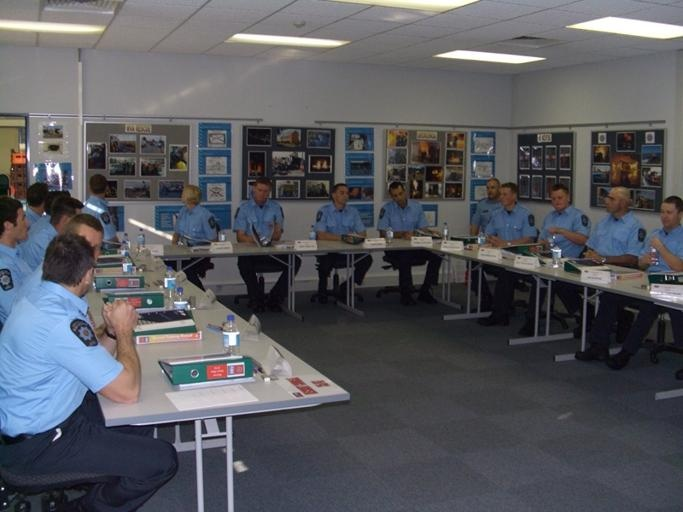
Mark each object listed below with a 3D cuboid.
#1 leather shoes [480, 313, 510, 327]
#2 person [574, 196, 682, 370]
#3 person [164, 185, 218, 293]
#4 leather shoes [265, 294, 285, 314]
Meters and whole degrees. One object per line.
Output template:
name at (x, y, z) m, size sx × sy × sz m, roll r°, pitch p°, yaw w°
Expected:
leather shoes at (1.880, 0.758, 6.563) m, size 0.352 × 0.238 × 0.153 m, roll 2°, pitch 1°, yaw 3°
person at (2.967, 0.248, 5.116) m, size 1.032 × 1.599 × 0.908 m, roll -8°, pitch 13°, yaw -39°
person at (-1.984, -0.120, 6.922) m, size 0.611 × 1.494 × 0.578 m, roll 7°, pitch 7°, yaw 9°
leather shoes at (-0.901, 0.631, 7.163) m, size 0.169 × 0.204 × 0.268 m, roll 4°, pitch -1°, yaw -6°
